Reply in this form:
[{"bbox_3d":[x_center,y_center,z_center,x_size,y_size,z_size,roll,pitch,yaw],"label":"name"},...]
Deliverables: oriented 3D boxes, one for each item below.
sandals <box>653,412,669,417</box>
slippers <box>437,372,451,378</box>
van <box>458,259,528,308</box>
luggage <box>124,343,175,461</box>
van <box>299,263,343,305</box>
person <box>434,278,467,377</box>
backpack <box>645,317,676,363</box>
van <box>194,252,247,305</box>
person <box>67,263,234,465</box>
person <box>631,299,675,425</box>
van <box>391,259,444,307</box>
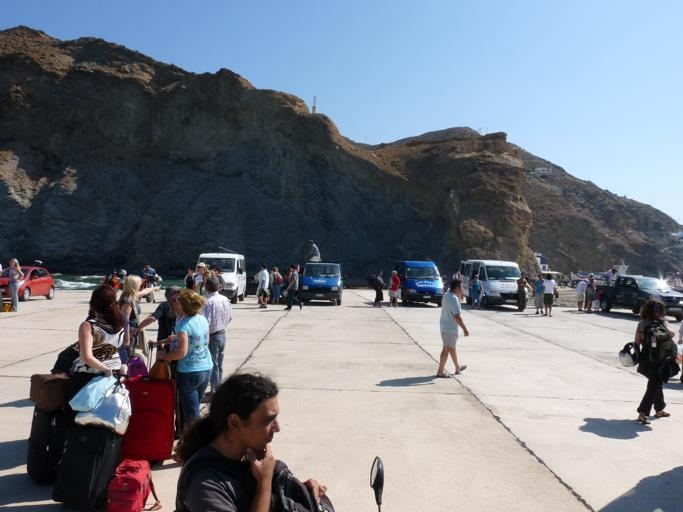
[{"bbox_3d":[5.720,2.821,13.190,0.189,0.086,0.116,-12,9,-9],"label":"sandals"},{"bbox_3d":[2.116,2.452,15.158,0.279,0.086,0.117,-3,13,6],"label":"slippers"},{"bbox_3d":[6.608,1.107,32.061,2.015,2.164,4.141,1,-4,-6],"label":"van"},{"bbox_3d":[-2.824,2.395,10.849,0.687,1.148,0.353,2,7,9],"label":"luggage"},{"bbox_3d":[-0.877,1.156,31.688,1.786,1.747,3.658,2,-1,1],"label":"van"},{"bbox_3d":[2.327,1.486,15.328,0.662,1.984,0.648,1,5,-14],"label":"person"},{"bbox_3d":[5.521,1.480,12.843,0.505,0.806,0.435,-3,-27,-4],"label":"backpack"},{"bbox_3d":[-4.786,1.091,30.525,1.423,2.019,4.434,0,0,0],"label":"van"},{"bbox_3d":[-3.038,1.740,11.897,0.907,0.987,2.797,4,31,0],"label":"person"},{"bbox_3d":[5.559,1.866,13.134,0.798,2.086,0.804,4,1,-22],"label":"person"},{"bbox_3d":[3.441,1.146,31.635,1.635,1.982,1.595,-2,1,-7],"label":"van"}]
